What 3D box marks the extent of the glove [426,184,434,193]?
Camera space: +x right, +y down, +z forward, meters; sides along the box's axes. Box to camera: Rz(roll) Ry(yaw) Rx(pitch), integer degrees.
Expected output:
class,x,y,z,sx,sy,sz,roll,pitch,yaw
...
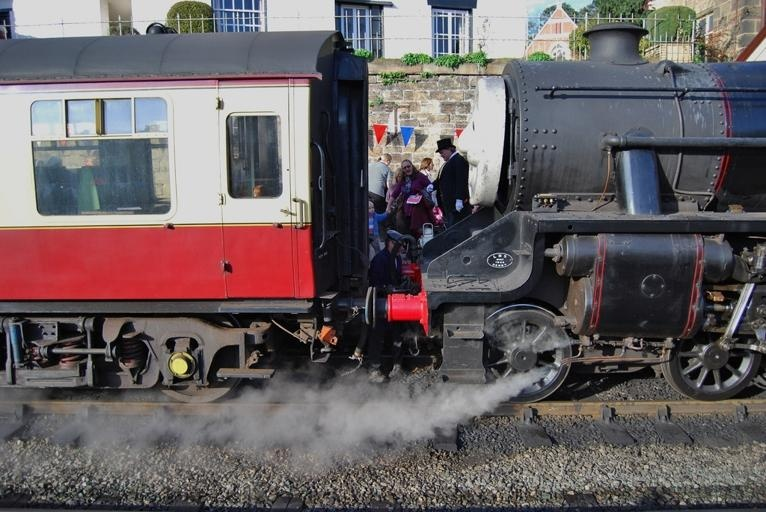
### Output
class,x,y,z,sx,sy,sz,roll,pitch,yaw
glove,0.751,-1.113,13.672,0.139,0.172,0.185,-2,-5,0

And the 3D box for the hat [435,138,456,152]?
class,x,y,z,sx,sy,sz,roll,pitch,yaw
hat,0.979,-1.782,13.434,0.282,0.188,0.353,-6,13,13

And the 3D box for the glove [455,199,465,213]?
class,x,y,z,sx,sy,sz,roll,pitch,yaw
glove,1.171,-0.796,12.865,0.144,0.243,0.205,9,20,3
